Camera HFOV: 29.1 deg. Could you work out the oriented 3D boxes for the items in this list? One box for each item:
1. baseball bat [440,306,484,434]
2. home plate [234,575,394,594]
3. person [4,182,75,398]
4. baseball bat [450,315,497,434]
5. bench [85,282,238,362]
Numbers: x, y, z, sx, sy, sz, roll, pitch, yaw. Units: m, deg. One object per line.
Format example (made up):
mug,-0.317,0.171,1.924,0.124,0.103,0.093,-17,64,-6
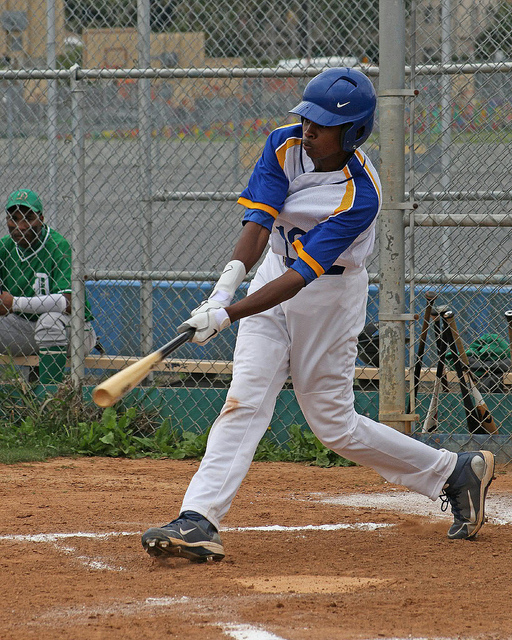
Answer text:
baseball bat,1.125,0.296,5.423,0.106,0.768,0.119,-9,-12,-39
home plate,0.187,0.852,3.180,0.497,0.013,0.186,0,4,-2
person,-1.307,-0.190,5.919,0.357,1.225,0.735,-3,6,-31
baseball bat,1.081,0.269,5.050,0.162,0.647,0.072,-23,-16,0
bench,-0.614,0.009,5.986,0.774,0.232,0.430,2,41,3
